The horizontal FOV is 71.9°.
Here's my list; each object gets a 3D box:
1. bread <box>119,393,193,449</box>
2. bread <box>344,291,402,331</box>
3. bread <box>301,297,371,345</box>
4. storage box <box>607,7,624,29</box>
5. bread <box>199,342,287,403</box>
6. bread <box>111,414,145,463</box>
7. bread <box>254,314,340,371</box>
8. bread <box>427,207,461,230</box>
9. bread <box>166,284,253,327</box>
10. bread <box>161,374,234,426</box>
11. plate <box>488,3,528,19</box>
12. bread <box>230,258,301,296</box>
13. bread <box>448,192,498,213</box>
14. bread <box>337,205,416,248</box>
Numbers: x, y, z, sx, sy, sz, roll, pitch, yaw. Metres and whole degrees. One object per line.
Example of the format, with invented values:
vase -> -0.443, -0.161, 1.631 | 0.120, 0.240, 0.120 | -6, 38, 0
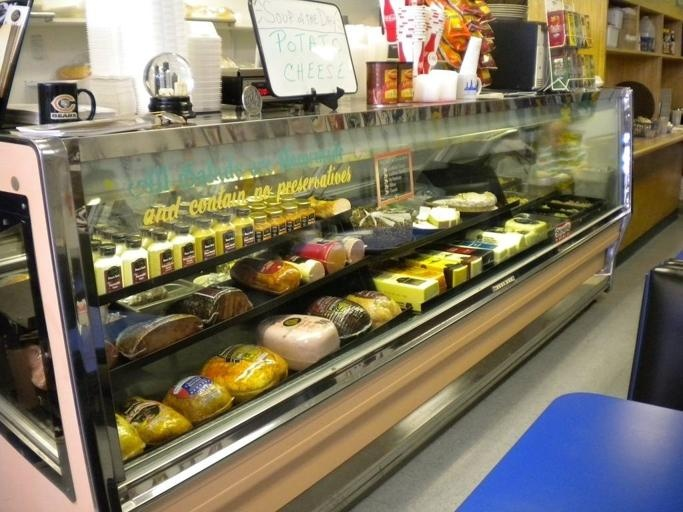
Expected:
bread -> -0.454, 0.394, 1.197 | 0.053, 0.090, 0.157 | -53, 33, 1
bread -> 0.105, 0.195, 1.735 | 0.200, 0.089, 0.107 | 22, 48, 19
bread -> 0.000, 0.212, 1.611 | 0.183, 0.053, 0.128 | 14, 27, 35
storage box -> 2.667, -2.296, 4.593 | 0.121, 0.197, 0.205 | 4, 20, 26
bread -> -0.265, 0.323, 1.359 | 0.178, 0.087, 0.147 | 9, 21, 35
bread -> -0.494, 0.427, 1.112 | 0.048, 0.106, 0.133 | -14, 20, -24
bread -> -0.124, 0.250, 1.479 | 0.205, 0.088, 0.159 | 12, 23, 33
bread -> 0.444, -0.169, 2.035 | 0.108, 0.026, 0.117 | -18, 30, -33
bread -> -0.358, 0.121, 1.313 | 0.112, 0.038, 0.142 | 12, 20, 33
bread -> -0.384, 0.363, 1.270 | 0.142, 0.070, 0.116 | 15, 26, 32
plate -> 1.033, -1.499, 2.908 | 0.268, 0.099, 0.133 | -20, 23, -39
bread -> -0.229, 0.053, 1.446 | 0.169, 0.058, 0.107 | 11, 24, 15
bread -> 0.626, -0.253, 2.202 | 0.188, 0.053, 0.129 | -2, 15, -1
bread -> 0.157, -0.109, 1.755 | 0.219, 0.075, 0.164 | 17, 28, 38
